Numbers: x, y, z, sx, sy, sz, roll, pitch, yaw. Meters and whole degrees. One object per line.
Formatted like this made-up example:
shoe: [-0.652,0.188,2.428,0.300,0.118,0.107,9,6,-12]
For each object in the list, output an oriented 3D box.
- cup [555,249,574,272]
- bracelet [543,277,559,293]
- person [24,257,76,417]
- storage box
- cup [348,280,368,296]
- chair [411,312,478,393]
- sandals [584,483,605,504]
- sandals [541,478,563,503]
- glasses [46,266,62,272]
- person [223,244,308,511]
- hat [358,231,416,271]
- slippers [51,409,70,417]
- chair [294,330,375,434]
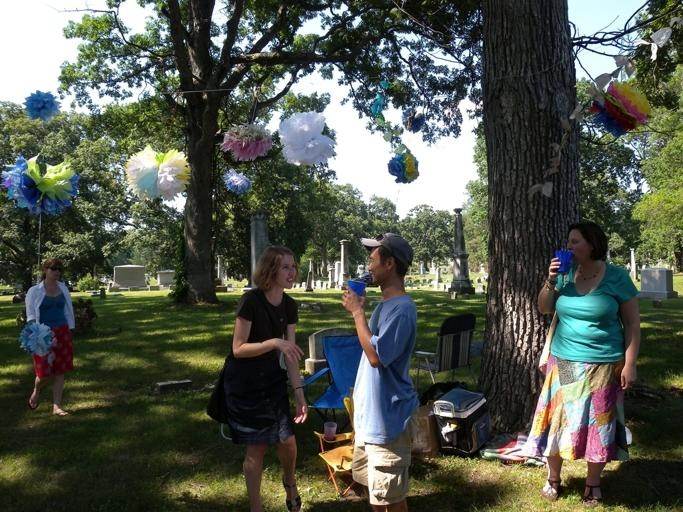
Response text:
cup: [2.435,0.054,6.723,0.203,0.266,0.205,3,-8,0]
bracelet: [2.373,0.310,6.957,0.119,0.125,0.132,1,-3,-6]
person: [-4.280,1.199,9.024,0.375,2.247,0.636,0,0,35]
storage box: [1.559,2.115,7.995,0.666,0.748,0.690,-8,8,22]
cup: [0.155,0.293,6.045,0.144,0.123,0.146,21,-13,5]
chair: [1.655,1.523,9.729,0.910,1.411,1.022,-6,5,-13]
sandals: [2.745,2.616,6.734,0.134,0.270,0.230,-5,-19,28]
sandals: [2.344,2.607,6.887,0.115,0.113,0.322,1,-1,25]
glasses: [-4.186,0.189,8.949,0.160,0.066,0.035,1,-1,-26]
person: [-0.807,1.354,6.533,0.878,2.120,0.498,1,0,-13]
hat: [0.480,-0.094,6.211,0.596,0.336,0.413,-11,13,29]
slippers: [-4.203,2.334,9.161,0.197,0.087,0.107,-8,-7,42]
chair: [0.005,1.694,8.691,0.966,1.624,1.111,0,-3,4]
